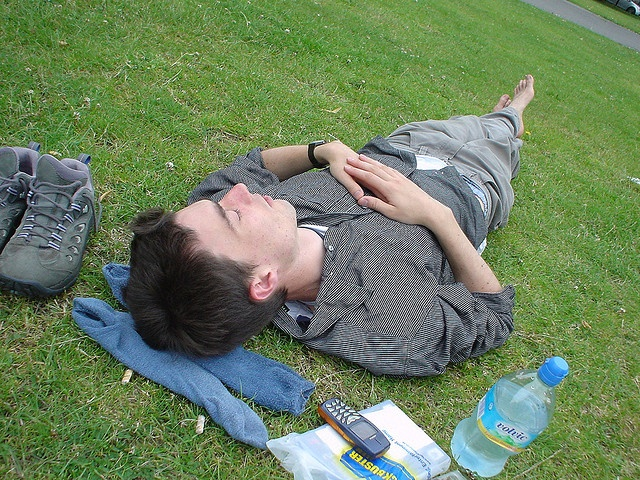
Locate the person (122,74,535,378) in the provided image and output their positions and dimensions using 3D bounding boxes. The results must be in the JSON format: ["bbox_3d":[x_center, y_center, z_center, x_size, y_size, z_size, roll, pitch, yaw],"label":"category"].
[{"bbox_3d":[0.352,-0.027,3.211,1.429,0.770,2.372,28,46,28],"label":"person"}]
